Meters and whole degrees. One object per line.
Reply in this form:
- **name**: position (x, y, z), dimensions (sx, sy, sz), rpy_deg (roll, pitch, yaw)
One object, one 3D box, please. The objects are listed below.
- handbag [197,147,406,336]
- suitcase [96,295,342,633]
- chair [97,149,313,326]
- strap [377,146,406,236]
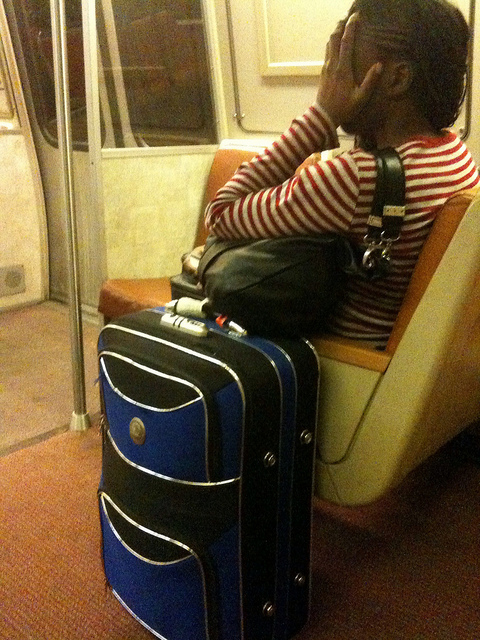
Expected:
- **handbag**: position (0.113, -0.123, 0.924), dimensions (0.328, 0.376, 0.247), rpy_deg (5, -1, 20)
- **suitcase**: position (-0.058, 0.267, 0.895), dimensions (0.458, 0.560, 0.389), rpy_deg (4, 26, 10)
- **chair**: position (-0.197, -0.186, 1.917), dimensions (0.646, 0.925, 0.465), rpy_deg (-13, 23, -37)
- **strap**: position (0.236, -0.195, 0.783), dimensions (0.046, 0.122, 0.069), rpy_deg (4, 26, 9)
